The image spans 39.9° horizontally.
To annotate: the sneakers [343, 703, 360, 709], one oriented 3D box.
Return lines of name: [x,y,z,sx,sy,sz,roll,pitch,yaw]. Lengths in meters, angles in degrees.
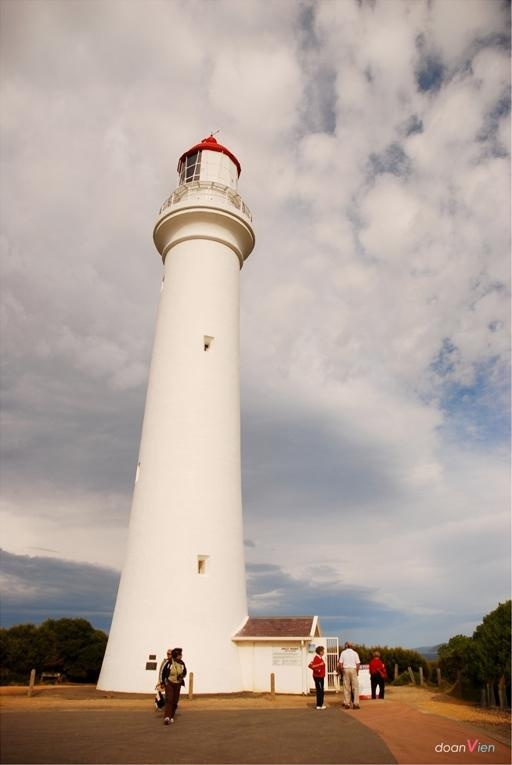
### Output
sneakers: [2.458,8.466,18.434,0.171,0.132,0.406,3,-12,-33]

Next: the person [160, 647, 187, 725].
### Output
person: [-1.877,6.727,15.644,0.499,1.534,1.115,5,-23,-5]

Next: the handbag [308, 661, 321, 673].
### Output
handbag: [1.486,7.404,18.282,0.158,0.272,0.400,17,-27,-30]
